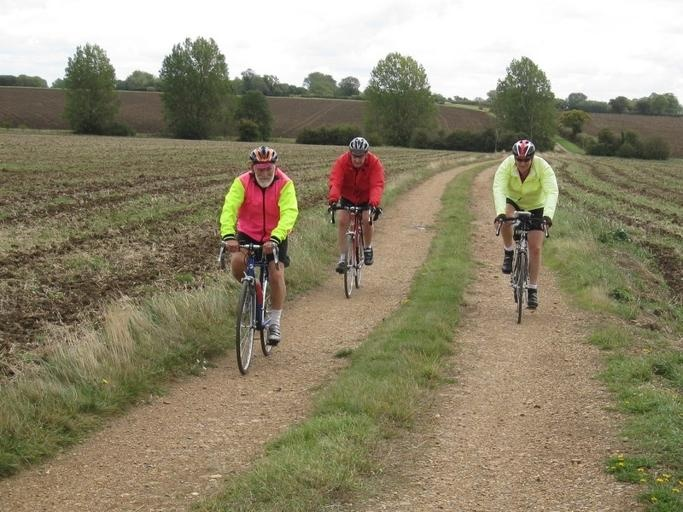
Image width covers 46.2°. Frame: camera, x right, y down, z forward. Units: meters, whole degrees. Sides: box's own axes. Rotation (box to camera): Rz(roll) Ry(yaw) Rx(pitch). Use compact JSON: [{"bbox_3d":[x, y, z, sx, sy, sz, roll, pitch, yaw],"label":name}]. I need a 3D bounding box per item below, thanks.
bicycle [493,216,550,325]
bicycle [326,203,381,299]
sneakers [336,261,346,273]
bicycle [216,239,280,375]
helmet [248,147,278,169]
[{"bbox_3d":[3.149,0.140,14.249,0.840,1.933,1.153,3,10,11],"label":"bicycle"},{"bbox_3d":[0.275,-0.181,15.944,0.690,1.821,1.555,5,11,19],"label":"bicycle"},{"bbox_3d":[-0.005,0.196,15.404,0.186,0.230,0.280,2,11,3],"label":"sneakers"},{"bbox_3d":[-1.330,0.754,12.330,0.612,1.948,1.407,2,10,5],"label":"bicycle"},{"bbox_3d":[-1.207,-1.524,12.255,0.288,0.209,0.428,-1,17,-5],"label":"helmet"}]
